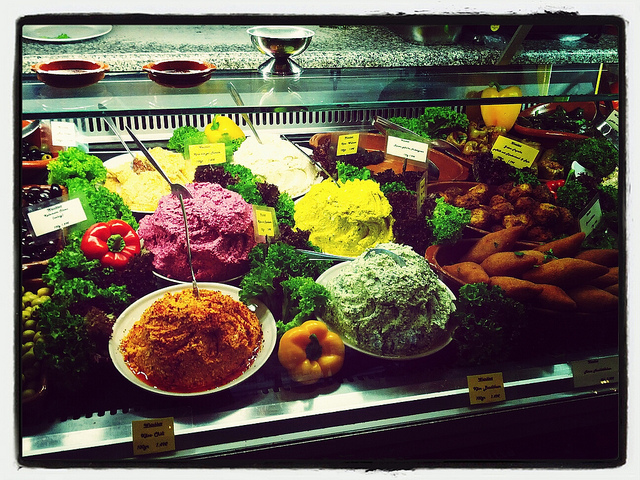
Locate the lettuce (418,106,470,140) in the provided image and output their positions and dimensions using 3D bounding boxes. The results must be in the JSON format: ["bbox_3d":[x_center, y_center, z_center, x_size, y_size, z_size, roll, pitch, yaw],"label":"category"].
[{"bbox_3d":[0.723,-0.692,2.721,0.243,0.127,0.237,9,29,24],"label":"lettuce"}]

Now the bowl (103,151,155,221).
[{"bbox_3d":[-1.106,-0.281,2.677,0.397,0.135,0.400,12,38,-10],"label":"bowl"}]

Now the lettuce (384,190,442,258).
[{"bbox_3d":[0.488,-0.083,2.539,0.289,0.315,0.103,-1,-4,-2],"label":"lettuce"}]

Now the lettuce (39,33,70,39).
[{"bbox_3d":[-1.236,-0.936,2.197,0.102,0.028,0.029,-2,8,-1],"label":"lettuce"}]

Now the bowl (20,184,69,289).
[{"bbox_3d":[-1.308,-0.005,2.253,0.315,0.416,0.143,-1,-7,-21],"label":"bowl"}]

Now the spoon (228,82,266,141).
[{"bbox_3d":[-0.394,-0.670,2.493,0.052,0.421,0.063,-24,-8,-15],"label":"spoon"}]

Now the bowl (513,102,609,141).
[{"bbox_3d":[1.414,-0.696,2.828,0.379,0.082,0.346,-4,33,3],"label":"bowl"}]

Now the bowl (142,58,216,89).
[{"bbox_3d":[-0.712,-0.855,2.436,0.298,0.105,0.281,-1,35,1],"label":"bowl"}]

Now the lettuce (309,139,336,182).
[{"bbox_3d":[0.009,-0.448,2.687,0.168,0.192,0.096,-1,-10,-23],"label":"lettuce"}]

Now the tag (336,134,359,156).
[{"bbox_3d":[0.154,-0.524,2.621,0.150,0.134,0.015,0,29,-20],"label":"tag"}]

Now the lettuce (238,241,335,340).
[{"bbox_3d":[-0.158,0.187,2.435,0.480,0.427,0.457,15,10,-14],"label":"lettuce"}]

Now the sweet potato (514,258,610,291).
[{"bbox_3d":[1.322,0.194,2.530,0.176,0.163,0.513,-10,-8,-17],"label":"sweet potato"}]

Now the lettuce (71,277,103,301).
[{"bbox_3d":[-1.067,0.230,2.160,0.118,0.051,0.108,-13,55,-40],"label":"lettuce"}]

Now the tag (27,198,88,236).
[{"bbox_3d":[-1.220,-0.105,2.218,0.015,0.185,0.334,10,22,22],"label":"tag"}]

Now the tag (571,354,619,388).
[{"bbox_3d":[1.418,0.671,2.463,0.294,0.136,0.063,-6,-2,-7],"label":"tag"}]

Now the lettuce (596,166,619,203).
[{"bbox_3d":[1.550,-0.301,2.531,0.099,0.129,0.123,12,38,19],"label":"lettuce"}]

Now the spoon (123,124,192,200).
[{"bbox_3d":[-0.865,-0.402,2.526,0.105,0.558,0.028,-22,29,36],"label":"spoon"}]

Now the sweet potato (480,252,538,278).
[{"bbox_3d":[0.953,0.131,2.411,0.264,0.122,0.120,-9,58,9],"label":"sweet potato"}]

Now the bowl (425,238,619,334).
[{"bbox_3d":[1.028,0.315,2.478,0.773,0.149,0.540,12,32,21],"label":"bowl"}]

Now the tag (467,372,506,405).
[{"bbox_3d":[0.813,0.740,2.327,0.164,0.125,0.021,-3,-3,-8],"label":"tag"}]

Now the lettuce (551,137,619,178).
[{"bbox_3d":[1.567,-0.455,2.718,0.273,0.149,0.335,-6,-13,22],"label":"lettuce"}]

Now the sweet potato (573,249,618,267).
[{"bbox_3d":[1.426,0.107,2.507,0.280,0.087,0.088,0,-16,2],"label":"sweet potato"}]

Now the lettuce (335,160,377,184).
[{"bbox_3d":[0.181,-0.369,2.606,0.147,0.058,0.149,0,24,-14],"label":"lettuce"}]

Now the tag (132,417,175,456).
[{"bbox_3d":[-0.738,0.873,2.089,0.181,0.017,0.144,8,55,-34],"label":"tag"}]

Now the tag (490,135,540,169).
[{"bbox_3d":[1.081,-0.478,2.632,0.214,0.142,0.027,20,29,-3],"label":"tag"}]

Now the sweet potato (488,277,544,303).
[{"bbox_3d":[1.006,0.248,2.433,0.249,0.077,0.118,11,-13,3],"label":"sweet potato"}]

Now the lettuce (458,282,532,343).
[{"bbox_3d":[0.871,0.362,2.386,0.337,0.254,0.154,10,38,17],"label":"lettuce"}]

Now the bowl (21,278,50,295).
[{"bbox_3d":[-1.319,0.222,2.196,0.094,0.053,0.081,0,1,4],"label":"bowl"}]

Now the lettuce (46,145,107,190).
[{"bbox_3d":[-1.228,-0.362,2.372,0.251,0.198,0.233,9,16,-16],"label":"lettuce"}]

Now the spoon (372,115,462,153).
[{"bbox_3d":[0.520,-0.591,2.619,0.413,0.082,0.106,24,37,-6],"label":"spoon"}]

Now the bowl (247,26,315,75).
[{"bbox_3d":[-0.197,-1.004,2.553,0.337,0.191,0.350,2,8,0],"label":"bowl"}]

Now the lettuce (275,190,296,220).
[{"bbox_3d":[-0.166,-0.187,2.463,0.126,0.126,0.123,1,-2,8],"label":"lettuce"}]

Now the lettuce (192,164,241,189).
[{"bbox_3d":[-0.545,-0.329,2.470,0.157,0.081,0.150,3,9,-10],"label":"lettuce"}]

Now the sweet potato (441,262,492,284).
[{"bbox_3d":[0.765,0.162,2.449,0.206,0.075,0.102,25,-8,27],"label":"sweet potato"}]

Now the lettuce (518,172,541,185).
[{"bbox_3d":[1.165,-0.343,2.614,0.084,0.044,0.081,-8,33,-38],"label":"lettuce"}]

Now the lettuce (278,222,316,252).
[{"bbox_3d":[-0.115,-0.022,2.369,0.151,0.079,0.137,27,28,23],"label":"lettuce"}]

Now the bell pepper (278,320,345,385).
[{"bbox_3d":[-0.047,0.519,2.363,0.312,0.295,0.284,-14,5,-19],"label":"bell pepper"}]

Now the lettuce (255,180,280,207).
[{"bbox_3d":[-0.268,-0.247,2.470,0.120,0.124,0.061,33,80,40],"label":"lettuce"}]
